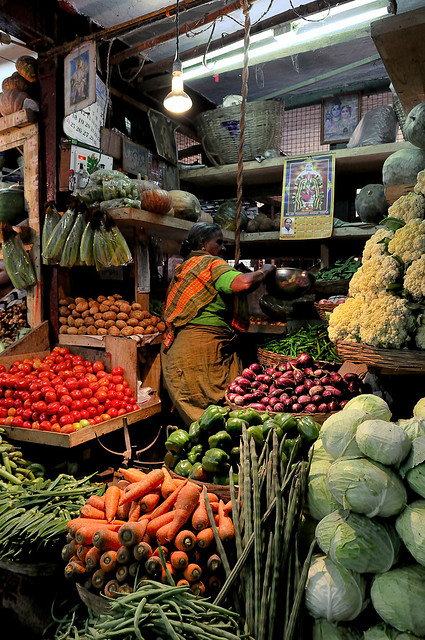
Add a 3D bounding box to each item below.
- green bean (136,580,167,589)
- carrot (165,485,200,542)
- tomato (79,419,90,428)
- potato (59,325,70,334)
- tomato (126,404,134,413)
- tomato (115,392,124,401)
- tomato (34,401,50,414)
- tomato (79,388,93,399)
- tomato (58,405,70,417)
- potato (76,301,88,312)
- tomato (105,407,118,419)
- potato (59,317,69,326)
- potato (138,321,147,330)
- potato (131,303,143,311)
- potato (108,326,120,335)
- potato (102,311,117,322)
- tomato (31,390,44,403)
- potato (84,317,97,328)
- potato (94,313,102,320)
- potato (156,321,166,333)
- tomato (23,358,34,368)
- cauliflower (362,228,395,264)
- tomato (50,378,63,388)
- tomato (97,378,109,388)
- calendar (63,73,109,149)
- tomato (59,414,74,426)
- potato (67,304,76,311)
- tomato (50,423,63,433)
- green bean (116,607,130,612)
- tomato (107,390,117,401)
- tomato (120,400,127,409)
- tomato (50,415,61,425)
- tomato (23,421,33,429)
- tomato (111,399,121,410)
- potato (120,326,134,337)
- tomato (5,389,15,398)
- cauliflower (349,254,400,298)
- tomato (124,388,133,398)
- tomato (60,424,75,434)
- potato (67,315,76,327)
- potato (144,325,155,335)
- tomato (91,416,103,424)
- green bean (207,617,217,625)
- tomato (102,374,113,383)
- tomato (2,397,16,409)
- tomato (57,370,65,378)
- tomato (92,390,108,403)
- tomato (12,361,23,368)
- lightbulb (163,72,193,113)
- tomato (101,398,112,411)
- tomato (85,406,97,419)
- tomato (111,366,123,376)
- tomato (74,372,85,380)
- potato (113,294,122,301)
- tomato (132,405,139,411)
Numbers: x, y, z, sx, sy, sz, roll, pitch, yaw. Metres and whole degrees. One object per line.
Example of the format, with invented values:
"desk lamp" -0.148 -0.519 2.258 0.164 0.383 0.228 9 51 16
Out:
"green bean" -0.165 0.709 1.278 0.047 0.012 0.050 10 -16 -35
"carrot" -0.086 0.571 1.425 0.144 0.112 0.164 -1 5 1
"tomato" -0.890 0.719 3.319 0.043 0.037 0.042 -1 -1 3
"potato" -1.330 0.092 4.291 0.079 0.060 0.062 -3 7 8
"tomato" -0.644 0.688 3.708 0.046 0.053 0.045 15 -29 -16
"tomato" -0.719 0.594 3.710 0.058 0.067 0.059 -2 12 43
"tomato" -1.193 0.613 3.330 0.066 0.066 0.087 4 0 -2
"tomato" -0.945 0.551 3.570 0.083 0.067 0.068 18 -14 -12
"tomato" -1.043 0.639 3.349 0.061 0.057 0.062 21 -26 -9
"potato" -1.174 -0.117 4.287 0.100 0.095 0.070 0 7 -10
"tomato" -0.756 0.702 3.597 0.061 0.061 0.067 -23 -5 43
"potato" -1.351 0.013 4.333 0.067 0.033 0.065 18 -12 -26
"potato" -0.594 0.049 4.067 0.056 0.062 0.072 -5 23 -3
"potato" -0.663 -0.111 4.155 0.071 0.044 0.083 0 3 2
"potato" -0.828 0.091 3.996 0.095 0.065 0.058 1 7 -7
"potato" -0.880 -0.027 4.073 0.091 0.057 0.111 -2 0 -18
"tomato" -1.259 0.551 3.420 0.076 0.086 0.070 15 -18 -25
"potato" -1.061 0.025 4.156 0.086 0.081 0.081 0 -16 8
"potato" -0.995 -0.032 4.136 0.061 0.046 0.046 -21 33 -39
"potato" -0.448 0.062 4.156 0.090 0.051 0.090 17 23 -25
"tomato" -1.511 0.358 3.916 0.067 0.063 0.063 -14 -18 42
"cauliflower" 0.658 -0.300 1.937 0.115 0.146 0.065 3 15 -39
"tomato" -1.167 0.475 3.580 0.061 0.061 0.053 2 -25 40
"tomato" -0.855 0.494 3.732 0.087 0.052 0.102 -1 7 -16
"calendar" -1.093 -1.887 4.314 0.242 0.575 0.587 4 7 16
"tomato" -1.003 0.688 3.272 0.060 0.062 0.081 8 35 21
"potato" -1.288 -0.116 4.363 0.059 0.034 0.046 9 -18 -4
"tomato" -1.061 0.732 3.244 0.046 0.055 0.046 29 -3 -38
"green bean" -0.225 0.731 1.204 0.023 0.006 0.024 12 -18 -42
"tomato" -0.773 0.585 3.679 0.062 0.060 0.062 15 -12 32
"tomato" -0.689 0.661 3.700 0.046 0.053 0.045 -3 -11 -3
"tomato" -1.093 0.692 3.313 0.052 0.049 0.051 -5 -7 -24
"tomato" -1.285 0.731 3.314 0.045 0.041 0.045 8 -7 -19
"tomato" -0.736 0.652 3.699 0.069 0.082 0.068 26 -45 -20
"potato" -0.712 0.096 3.961 0.097 0.071 0.071 -14 22 -12
"tomato" -1.510 0.552 3.551 0.055 0.054 0.055 0 -4 -7
"cauliflower" 0.629 -0.172 1.883 0.080 0.173 0.294 0 7 -8
"tomato" -0.673 0.580 3.801 0.058 0.056 0.058 15 21 23
"tomato" -0.970 0.732 3.191 0.069 0.053 0.050 -1 -26 -10
"potato" -1.274 0.006 4.312 0.040 0.081 0.086 -9 -9 8
"potato" -0.542 0.085 4.062 0.037 0.073 0.112 6 8 32
"tomato" -0.822 0.721 3.437 0.048 0.044 0.045 0 -2 11
"green bean" 0.000 0.751 1.188 0.005 0.004 0.025 21 24 29
"tomato" -0.840 0.469 3.813 0.066 0.061 0.061 1 7 17
"tomato" -1.494 0.612 3.489 0.067 0.082 0.072 5 16 30
"tomato" -1.193 0.426 3.760 0.047 0.044 0.046 -2 -5 7
"tomato" -0.842 0.577 3.590 0.104 0.085 0.084 -22 -22 -10
"tomato" -1.590 0.366 3.894 0.050 0.056 0.050 -3 -7 34
"lightbulb" -0.253 -1.667 3.507 0.199 0.211 0.190 -4 3 -19
"tomato" -0.801 0.645 3.633 0.075 0.088 0.074 18 -17 -41
"tomato" -0.871 0.668 3.441 0.074 0.090 0.074 -9 -32 21
"tomato" -0.780 0.418 3.884 0.076 0.063 0.082 5 8 28
"tomato" -1.047 0.444 3.764 0.062 0.047 0.048 4 3 29
"potato" -0.872 -0.206 4.356 0.081 0.050 0.091 2 6 -6
"tomato" -0.610 0.694 3.775 0.043 0.032 0.087 2 7 5
